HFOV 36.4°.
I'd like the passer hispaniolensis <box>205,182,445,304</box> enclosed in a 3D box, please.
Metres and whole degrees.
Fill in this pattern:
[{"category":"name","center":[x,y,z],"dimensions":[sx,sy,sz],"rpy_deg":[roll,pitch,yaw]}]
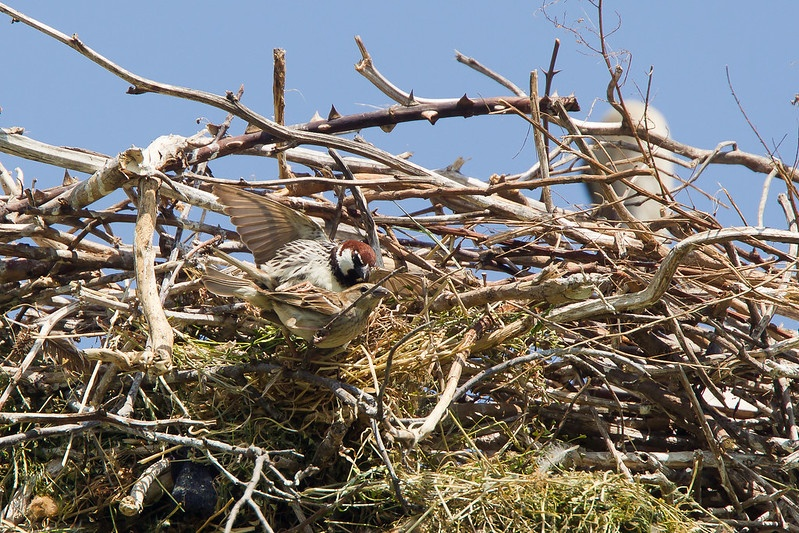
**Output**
[{"category":"passer hispaniolensis","center":[-0.295,-0.068,4.562],"dimensions":[0.251,0.439,1.153],"rpy_deg":[-4,4,-43]}]

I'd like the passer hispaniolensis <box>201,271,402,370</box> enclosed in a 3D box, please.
[{"category":"passer hispaniolensis","center":[-0.370,0.176,4.387],"dimensions":[0.644,0.298,0.240],"rpy_deg":[1,-13,8]}]
